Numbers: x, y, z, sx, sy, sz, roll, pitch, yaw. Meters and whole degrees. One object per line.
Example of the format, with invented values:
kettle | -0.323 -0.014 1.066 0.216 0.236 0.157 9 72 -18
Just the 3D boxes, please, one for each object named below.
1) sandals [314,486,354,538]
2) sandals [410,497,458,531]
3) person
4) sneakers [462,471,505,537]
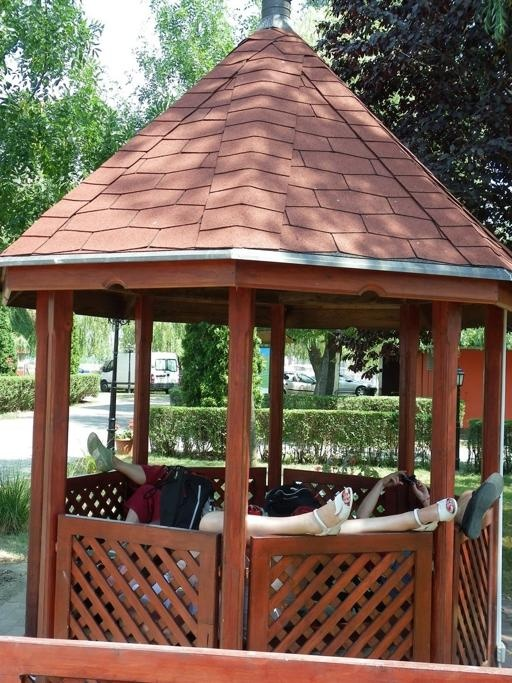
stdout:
sandals | 0.392 0.874 3.433 0.095 0.131 0.334 -13 -36 -24
sandals | 0.950 0.919 3.566 0.089 0.121 0.320 -6 -23 -19
person | -0.280 0.928 4.277 3.361 0.770 1.099 -1 -14 30
sneakers | 1.296 0.962 3.879 0.241 0.369 0.294 -2 -4 16
